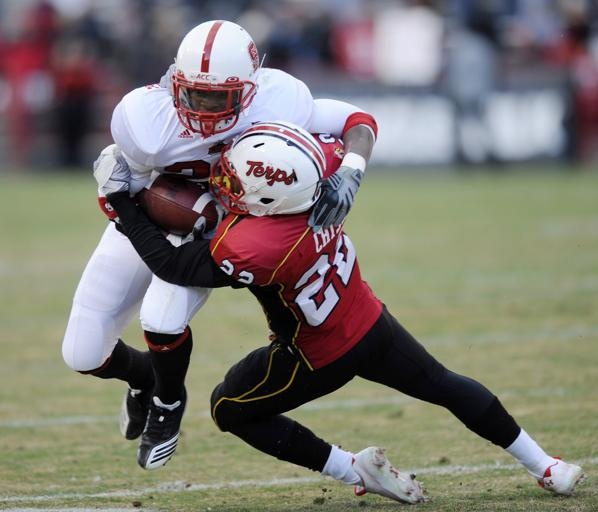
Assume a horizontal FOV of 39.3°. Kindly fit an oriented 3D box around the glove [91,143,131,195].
[{"bbox_3d":[-0.756,-0.345,3.392,0.139,0.205,0.212,-4,15,-29],"label":"glove"}]

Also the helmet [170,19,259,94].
[{"bbox_3d":[-0.258,-0.792,3.340,0.415,0.247,0.265,10,7,-2],"label":"helmet"}]

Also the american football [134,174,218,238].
[{"bbox_3d":[-0.461,-0.195,3.471,0.357,0.179,0.212,24,-9,1],"label":"american football"}]

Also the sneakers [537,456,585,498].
[{"bbox_3d":[1.029,0.870,3.298,0.112,0.092,0.190,25,-11,12],"label":"sneakers"}]

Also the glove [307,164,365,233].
[{"bbox_3d":[0.144,-0.213,3.180,0.188,0.229,0.103,22,-11,-27],"label":"glove"}]

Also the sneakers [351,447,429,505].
[{"bbox_3d":[0.336,0.891,3.402,0.301,0.136,0.225,27,52,13],"label":"sneakers"}]

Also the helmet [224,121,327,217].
[{"bbox_3d":[-0.074,-0.342,3.206,0.480,0.289,0.310,11,32,12],"label":"helmet"}]
